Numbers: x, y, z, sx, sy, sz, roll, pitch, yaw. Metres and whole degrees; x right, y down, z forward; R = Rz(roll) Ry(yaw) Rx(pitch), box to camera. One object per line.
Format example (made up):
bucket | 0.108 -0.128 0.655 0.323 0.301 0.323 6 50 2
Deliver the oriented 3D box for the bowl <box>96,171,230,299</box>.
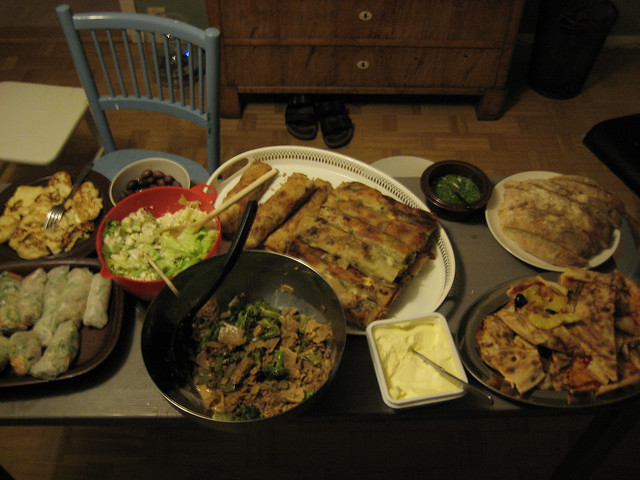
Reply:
bowl | -0.629 0.009 1.891 0.208 0.471 0.428 25 32 15

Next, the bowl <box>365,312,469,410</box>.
bowl | 0.315 0.411 1.676 0.281 0.107 0.329 -6 49 -2

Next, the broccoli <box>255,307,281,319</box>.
broccoli | -0.177 0.252 1.724 0.056 0.017 0.039 7 77 -1

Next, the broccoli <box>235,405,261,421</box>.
broccoli | -0.224 0.536 1.557 0.048 0.021 0.049 12 44 1

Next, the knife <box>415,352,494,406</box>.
knife | 0.427 0.455 1.629 0.033 0.034 0.255 -33 56 -26

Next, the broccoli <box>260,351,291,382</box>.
broccoli | -0.143 0.410 1.641 0.078 0.049 0.081 13 85 -19

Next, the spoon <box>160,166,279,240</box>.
spoon | -0.370 -0.133 1.912 0.362 0.086 0.055 -40 73 5

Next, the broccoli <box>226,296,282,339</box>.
broccoli | -0.227 0.261 1.724 0.165 0.063 0.123 28 45 8

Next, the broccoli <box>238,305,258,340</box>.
broccoli | -0.243 0.285 1.702 0.045 0.045 0.094 -18 36 25

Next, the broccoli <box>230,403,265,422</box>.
broccoli | -0.230 0.535 1.561 0.062 0.025 0.067 5 36 -1

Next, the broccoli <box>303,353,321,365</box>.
broccoli | -0.023 0.391 1.649 0.028 0.018 0.042 -48 57 1

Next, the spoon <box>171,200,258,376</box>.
spoon | -0.354 0.143 1.676 0.086 0.121 0.617 13 71 23
